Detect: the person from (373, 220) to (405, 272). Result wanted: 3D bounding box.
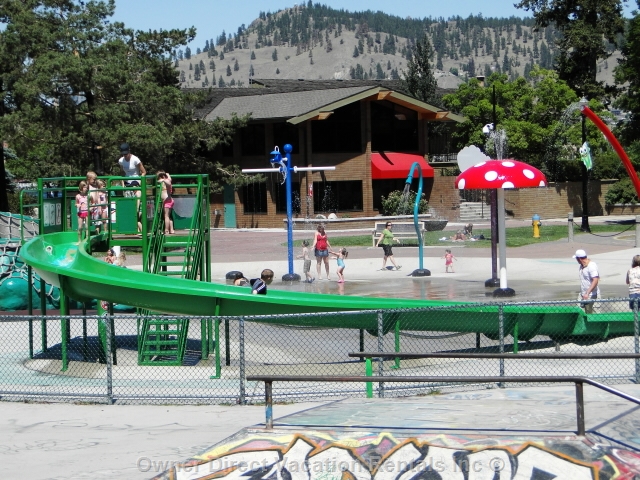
[{"bbox_3d":[2.408,0.383,40.251,1.328,2.838,1.037,-2,2,6],"label":"person"}]

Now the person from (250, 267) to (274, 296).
[{"bbox_3d":[-1.505,1.087,27.662,0.523,0.601,1.701,-3,1,-3],"label":"person"}]

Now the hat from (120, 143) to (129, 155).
[{"bbox_3d":[-5.486,-2.534,30.442,0.194,0.314,0.640,-3,1,-13],"label":"hat"}]
